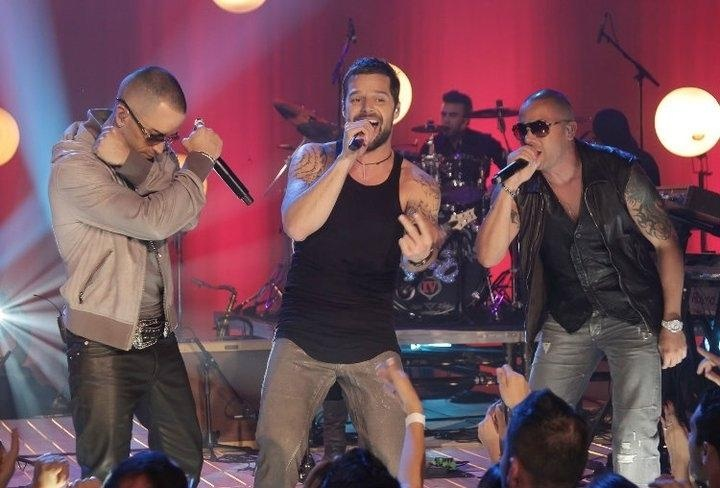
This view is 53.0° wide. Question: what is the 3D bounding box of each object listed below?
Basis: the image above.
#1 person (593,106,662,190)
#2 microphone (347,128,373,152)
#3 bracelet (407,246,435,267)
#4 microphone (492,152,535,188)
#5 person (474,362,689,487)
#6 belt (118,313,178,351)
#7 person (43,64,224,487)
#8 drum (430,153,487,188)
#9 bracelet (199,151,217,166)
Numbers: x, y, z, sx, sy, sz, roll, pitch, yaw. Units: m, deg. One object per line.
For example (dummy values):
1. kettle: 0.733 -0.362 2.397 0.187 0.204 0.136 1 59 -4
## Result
1. person: 3.006 -0.959 8.315 0.686 0.653 2.023 -23 -6 20
2. microphone: -0.007 -0.607 4.157 0.058 0.061 0.230 -19 17 21
3. bracelet: 0.358 0.084 4.213 0.114 0.039 0.116 -21 3 1
4. microphone: 0.981 -0.490 4.727 0.382 0.104 0.092 -43 38 -17
5. person: 1.307 1.019 4.094 1.382 0.639 0.929 3 -9 -13
6. belt: -1.271 0.520 4.281 0.053 0.143 0.245 -1 3 37
7. person: -1.361 0.199 4.286 0.963 2.504 0.537 4 -10 -22
8. drum: 1.097 -0.818 8.015 0.446 0.232 0.533 2 2 37
9. bracelet: -0.926 -0.520 4.393 0.075 0.020 0.063 31 11 14
